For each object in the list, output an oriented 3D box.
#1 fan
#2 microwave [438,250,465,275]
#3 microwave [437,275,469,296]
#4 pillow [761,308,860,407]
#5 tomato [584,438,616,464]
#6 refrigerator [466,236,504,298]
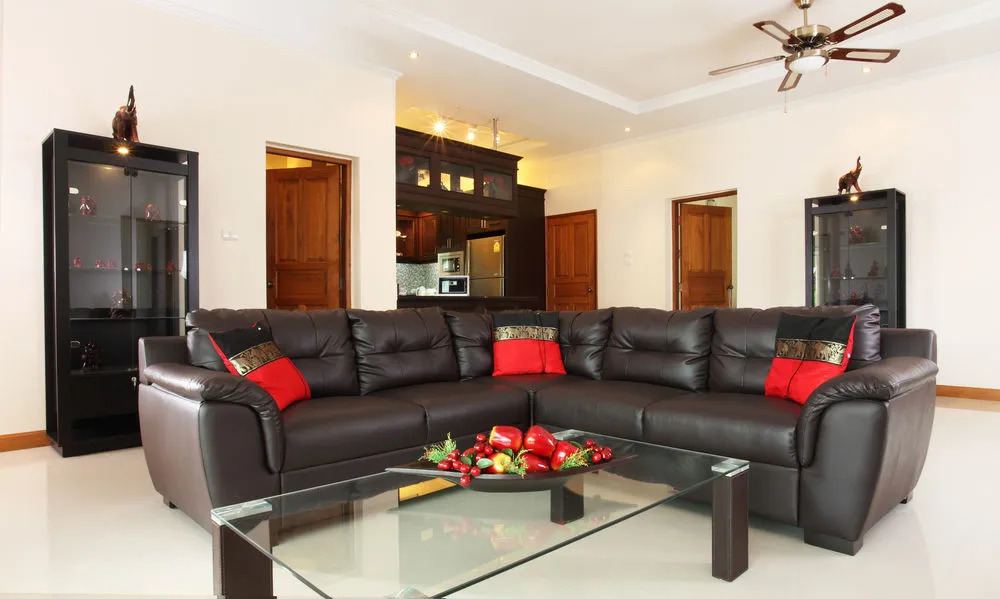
[{"bbox_3d":[3.251,-2.542,6.433,1.311,0.486,1.293,-4,-5,34],"label":"fan"},{"bbox_3d":[-0.861,-0.643,11.005,0.653,0.389,0.151,3,7,45],"label":"microwave"},{"bbox_3d":[-0.787,-0.249,10.579,0.337,0.268,0.628,-2,4,-20],"label":"microwave"},{"bbox_3d":[2.368,0.440,4.779,0.226,0.621,0.731,24,-17,-36],"label":"pillow"},{"bbox_3d":[0.646,0.978,4.068,0.159,0.054,0.144,4,6,-16],"label":"tomato"},{"bbox_3d":[-0.256,-0.583,10.577,0.841,0.981,0.237,3,7,45],"label":"refrigerator"}]
